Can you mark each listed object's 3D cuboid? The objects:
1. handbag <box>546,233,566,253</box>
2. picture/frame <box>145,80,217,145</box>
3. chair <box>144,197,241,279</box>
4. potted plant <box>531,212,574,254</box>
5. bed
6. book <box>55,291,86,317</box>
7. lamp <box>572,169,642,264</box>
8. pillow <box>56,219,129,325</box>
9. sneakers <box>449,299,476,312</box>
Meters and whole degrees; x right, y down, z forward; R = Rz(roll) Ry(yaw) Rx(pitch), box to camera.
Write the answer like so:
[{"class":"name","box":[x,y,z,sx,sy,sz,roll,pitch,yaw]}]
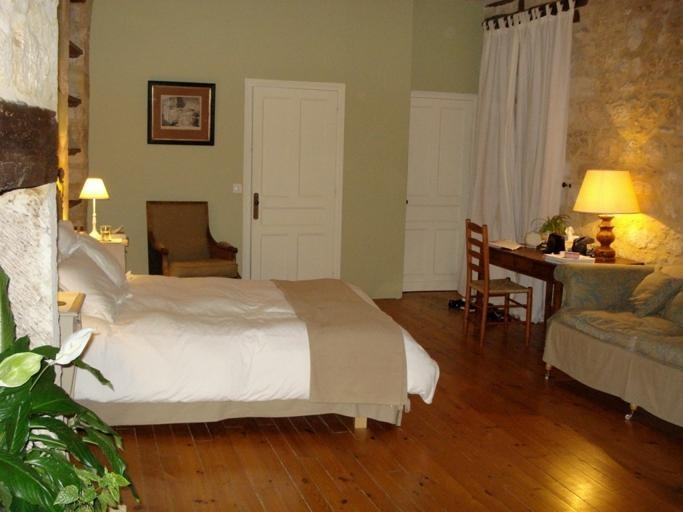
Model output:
[{"class":"handbag","box":[1.955,-0.121,5.093,0.157,0.221,0.155,0,0,-4]},{"class":"picture/frame","box":[-1.758,-1.570,5.931,0.651,0.666,0.068,-1,13,-10]},{"class":"chair","box":[-1.565,-0.177,5.763,0.819,0.734,0.916,-4,12,-26]},{"class":"potted plant","box":[2.098,-0.200,5.280,0.367,0.465,0.443,2,1,-6]},{"class":"bed","box":[-0.563,0.621,3.584,1.939,0.784,1.001,0,11,-11]},{"class":"book","box":[-1.251,0.218,2.540,0.096,0.038,0.154,3,10,-10]},{"class":"lamp","box":[2.337,-0.350,4.781,0.558,0.780,0.381,-3,12,-24]},{"class":"pillow","box":[-1.553,0.103,3.447,0.341,0.336,0.725,0,22,-20]},{"class":"sneakers","box":[1.381,0.555,6.253,0.320,0.139,0.124,0,9,-1]}]
